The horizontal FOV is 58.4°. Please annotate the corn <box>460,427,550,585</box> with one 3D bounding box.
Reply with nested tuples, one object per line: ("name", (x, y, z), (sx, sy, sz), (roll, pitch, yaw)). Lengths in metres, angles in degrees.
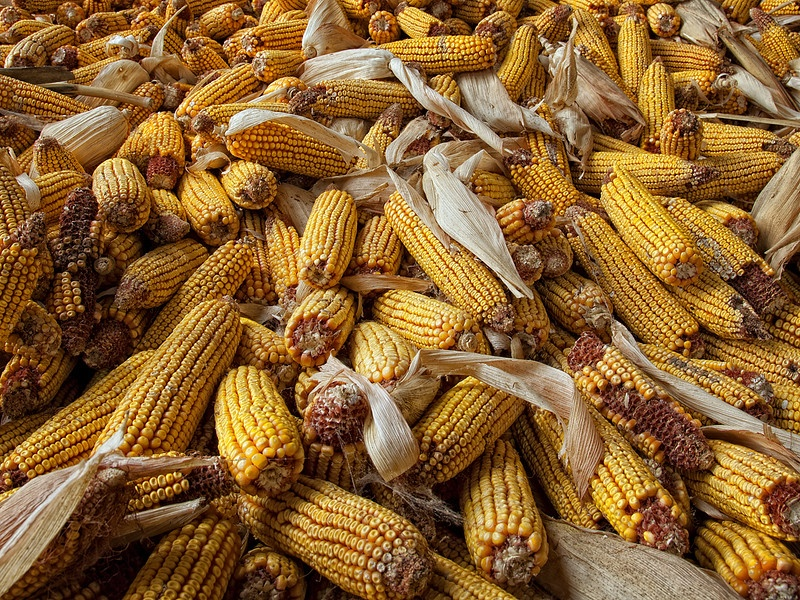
("corn", (0.536, 1.042, 3.630), (0.377, 0.392, 1.026), (0, 17, 5))
